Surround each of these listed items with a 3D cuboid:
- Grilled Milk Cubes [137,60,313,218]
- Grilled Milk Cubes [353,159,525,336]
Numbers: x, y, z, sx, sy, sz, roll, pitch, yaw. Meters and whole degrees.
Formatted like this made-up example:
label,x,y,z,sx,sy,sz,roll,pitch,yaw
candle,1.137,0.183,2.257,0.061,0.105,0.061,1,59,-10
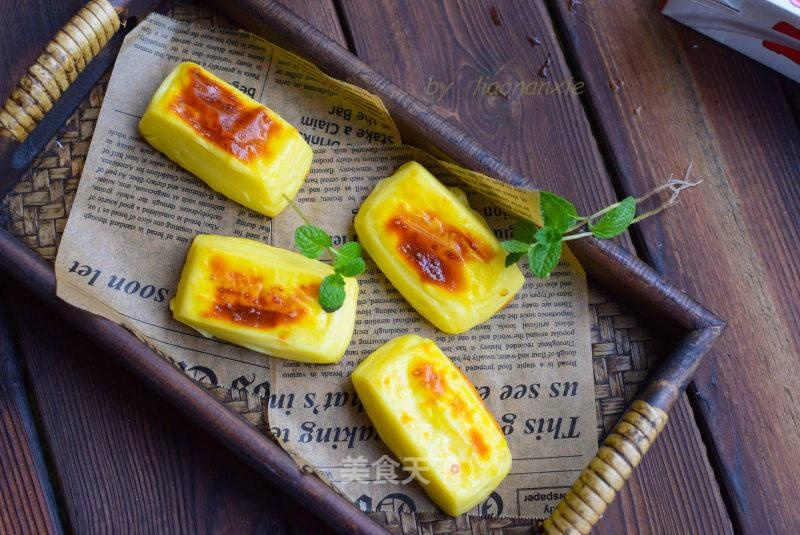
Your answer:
label,x,y,z,sx,sy,sz,roll,pitch,yaw
Grilled Milk Cubes,-0.396,-0.283,1.769,0.386,0.135,0.271,25,82,-17
Grilled Milk Cubes,0.081,-0.072,1.747,0.427,0.267,0.129,42,25,-22
